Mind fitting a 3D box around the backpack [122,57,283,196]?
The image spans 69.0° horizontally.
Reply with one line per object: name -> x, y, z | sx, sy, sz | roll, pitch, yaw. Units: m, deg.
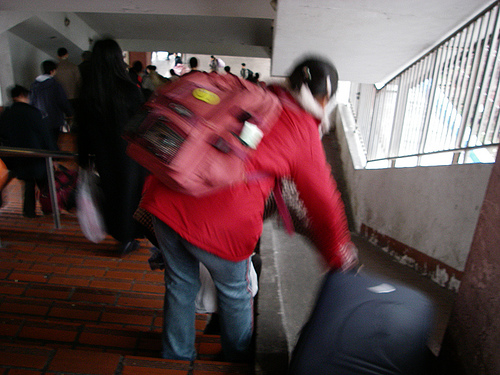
backpack -> -0.173, -0.177, 1.952 | 0.796, 0.319, 1.053 | 28, 8, 25

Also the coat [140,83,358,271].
coat -> 0.009, -0.121, 1.699 | 0.989, 0.368, 0.746 | 17, 12, -32

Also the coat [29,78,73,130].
coat -> -3.001, -1.254, 5.393 | 0.757, 0.714, 0.309 | -10, 4, -2
